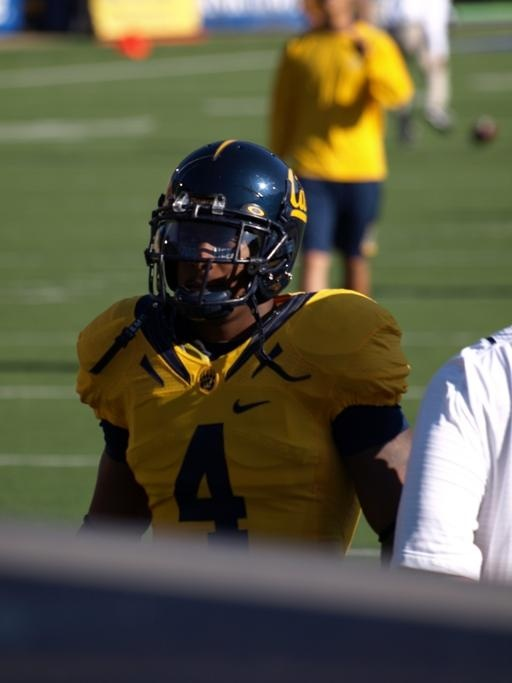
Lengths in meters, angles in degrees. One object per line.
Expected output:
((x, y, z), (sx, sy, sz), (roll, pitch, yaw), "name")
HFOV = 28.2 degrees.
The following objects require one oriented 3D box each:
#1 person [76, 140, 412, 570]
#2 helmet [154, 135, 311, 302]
((-0.046, 0.084, 2.029), (0.645, 0.836, 0.763), (-7, 30, -11), "person")
((-0.045, -0.231, 2.041), (0.330, 0.264, 0.408), (0, 0, 29), "helmet")
